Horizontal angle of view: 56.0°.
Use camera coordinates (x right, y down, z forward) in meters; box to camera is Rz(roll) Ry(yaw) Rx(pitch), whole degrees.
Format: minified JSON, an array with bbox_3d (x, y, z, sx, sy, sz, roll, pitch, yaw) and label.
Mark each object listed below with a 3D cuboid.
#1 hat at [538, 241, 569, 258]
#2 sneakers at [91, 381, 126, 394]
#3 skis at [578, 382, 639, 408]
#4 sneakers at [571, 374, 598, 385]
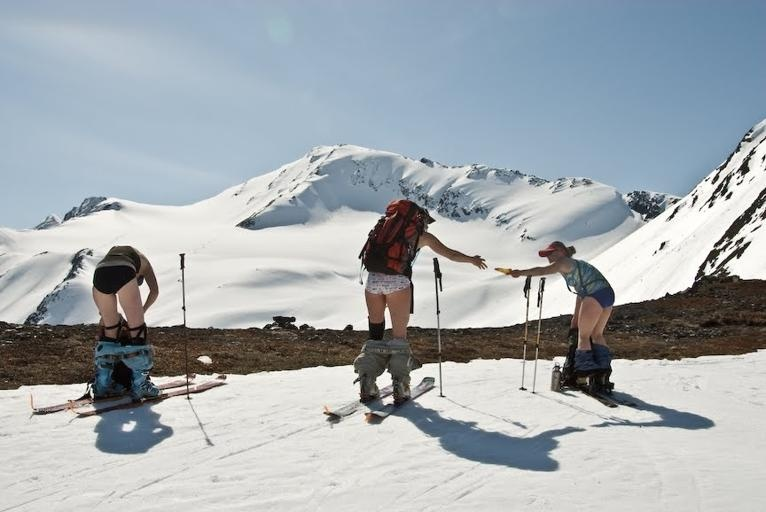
[{"bbox_3d":[3.885,-0.138,16.191,0.690,0.273,0.385,9,-3,12],"label":"hat"},{"bbox_3d":[-5.838,2.785,15.294,0.636,0.179,0.257,-7,-34,-18],"label":"sneakers"},{"bbox_3d":[4.716,2.984,15.417,0.315,0.139,2.185,-3,6,-16],"label":"skis"},{"bbox_3d":[4.441,2.704,15.822,0.193,0.200,0.567,-7,-10,-45],"label":"sneakers"}]
